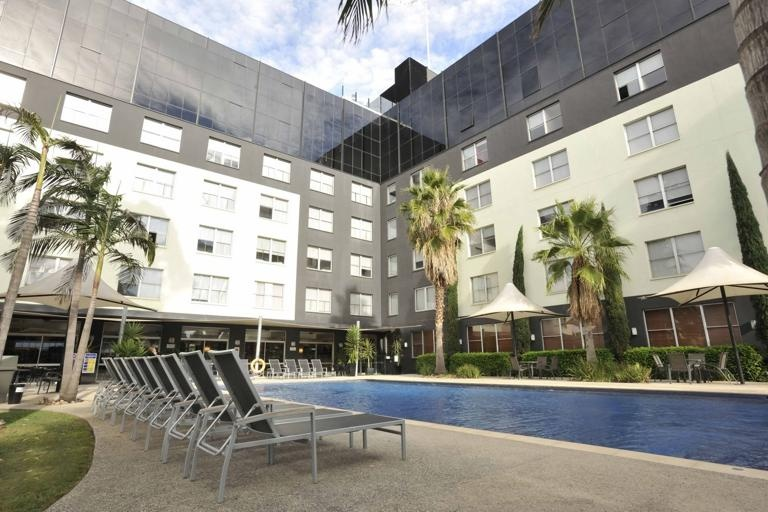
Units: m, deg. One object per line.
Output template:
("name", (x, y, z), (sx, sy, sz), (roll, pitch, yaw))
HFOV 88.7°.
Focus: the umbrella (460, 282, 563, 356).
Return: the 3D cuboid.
("umbrella", (7.210, 3.855, 21.913), (4.924, 4.586, 4.659), (-4, -10, 14))
